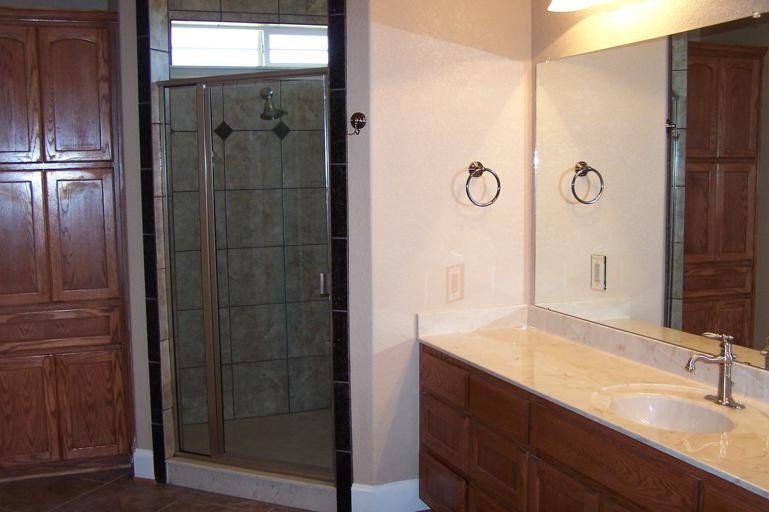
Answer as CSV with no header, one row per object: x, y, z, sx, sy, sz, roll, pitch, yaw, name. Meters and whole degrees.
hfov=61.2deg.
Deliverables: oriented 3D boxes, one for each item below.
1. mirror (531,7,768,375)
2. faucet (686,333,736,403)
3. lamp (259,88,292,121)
1.147,-0.402,3.520,0.166,1.472,0.837,-7,8,-33,mirror
1.433,0.503,2.878,0.246,0.293,0.211,-2,6,-3,faucet
-0.695,-0.927,3.969,0.171,0.182,0.091,1,7,28,lamp
